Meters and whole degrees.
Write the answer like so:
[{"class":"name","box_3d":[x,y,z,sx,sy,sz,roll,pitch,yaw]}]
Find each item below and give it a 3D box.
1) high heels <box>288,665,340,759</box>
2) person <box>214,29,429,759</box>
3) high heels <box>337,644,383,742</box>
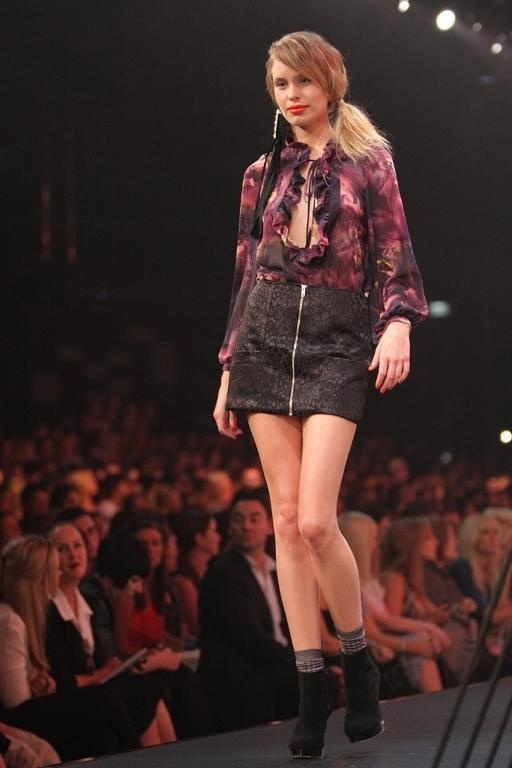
[{"class":"high heels","box_3d":[0.112,0.658,1.540,0.106,0.172,0.135,-12,-12,16]},{"class":"person","box_3d":[0.126,-0.001,1.598,0.253,1.462,0.478,3,-16,-44]},{"class":"high heels","box_3d":[0.214,0.637,1.564,0.088,0.198,0.120,-9,-11,2]}]
